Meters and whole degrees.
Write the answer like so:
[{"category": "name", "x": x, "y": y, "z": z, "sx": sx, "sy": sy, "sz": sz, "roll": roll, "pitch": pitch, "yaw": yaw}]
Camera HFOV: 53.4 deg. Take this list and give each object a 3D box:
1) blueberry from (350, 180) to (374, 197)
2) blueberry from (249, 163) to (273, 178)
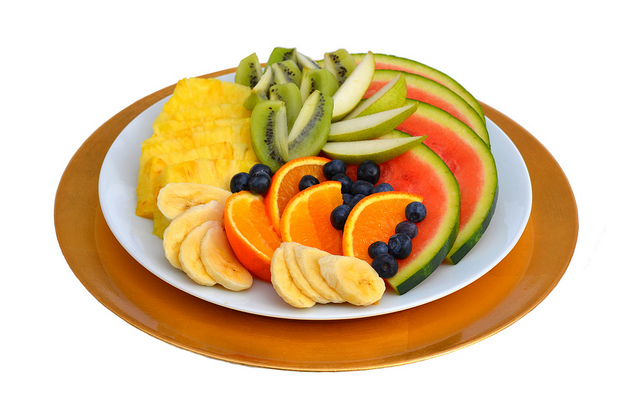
[{"category": "blueberry", "x": 0.402, "y": -0.182, "z": 6.212, "sx": 0.175, "sy": 0.161, "sz": 0.166, "roll": 2, "pitch": -79, "yaw": 7}, {"category": "blueberry", "x": -0.603, "y": -0.383, "z": 6.341, "sx": 0.158, "sy": 0.154, "sz": 0.156, "roll": 0, "pitch": -45, "yaw": -1}]
